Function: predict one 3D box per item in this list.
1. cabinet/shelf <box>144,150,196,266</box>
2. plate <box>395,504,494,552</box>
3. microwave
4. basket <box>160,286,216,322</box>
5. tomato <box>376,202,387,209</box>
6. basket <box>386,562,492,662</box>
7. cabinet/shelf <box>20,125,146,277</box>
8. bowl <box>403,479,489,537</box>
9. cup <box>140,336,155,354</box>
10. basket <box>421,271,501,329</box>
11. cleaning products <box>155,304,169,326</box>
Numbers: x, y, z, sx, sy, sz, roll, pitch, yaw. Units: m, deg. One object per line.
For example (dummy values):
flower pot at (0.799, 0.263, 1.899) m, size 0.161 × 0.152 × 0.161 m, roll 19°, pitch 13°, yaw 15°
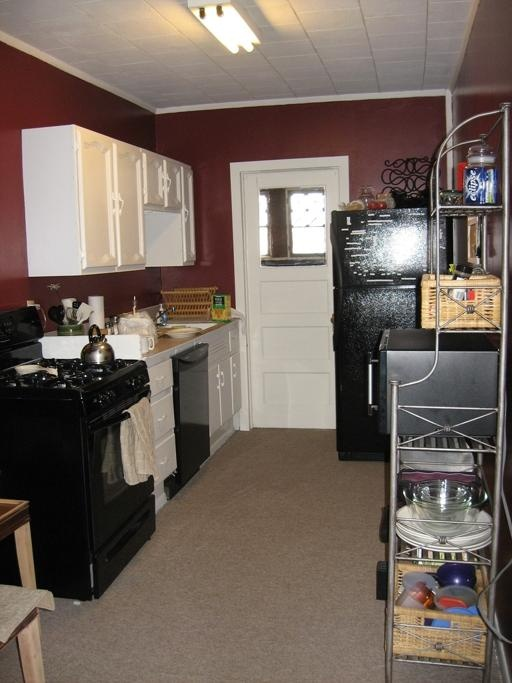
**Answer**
cabinet/shelf at (-0.668, -0.990, 4.166) m, size 0.395 × 0.891 × 0.990 m, roll 1°, pitch 10°, yaw 5°
plate at (0.537, 0.517, 1.507) m, size 0.291 × 0.095 × 0.142 m, roll -2°, pitch 5°, yaw -5°
microwave at (0.576, 0.106, 1.782) m, size 0.366 × 0.257 × 0.513 m, roll -1°, pitch 10°, yaw 13°
basket at (-0.560, -0.320, 4.485) m, size 0.385 × 0.216 × 0.272 m, roll -1°, pitch 14°, yaw 1°
tomato at (0.857, -0.922, 3.687) m, size 0.052 × 0.050 × 0.052 m, roll -1°, pitch 18°, yaw -2°
basket at (0.557, 0.839, 1.661) m, size 0.226 × 0.135 × 0.224 m, roll 0°, pitch 2°, yaw 12°
cabinet/shelf at (-0.965, -0.755, 2.956) m, size 0.373 × 0.799 × 0.938 m, roll 1°, pitch 10°, yaw 9°
bowl at (0.540, 0.472, 1.584) m, size 0.156 × 0.070 × 0.154 m, roll -1°, pitch 7°, yaw 0°
cup at (-0.620, 0.022, 3.093) m, size 0.102 × 0.071 × 0.063 m, roll 6°, pitch 7°, yaw 25°
basket at (0.594, -0.116, 1.571) m, size 0.209 × 0.158 × 0.262 m, roll 0°, pitch 5°, yaw 12°
cleaning products at (-0.760, -0.217, 4.404) m, size 0.103 × 0.166 × 0.281 m, roll -2°, pitch 5°, yaw -10°
